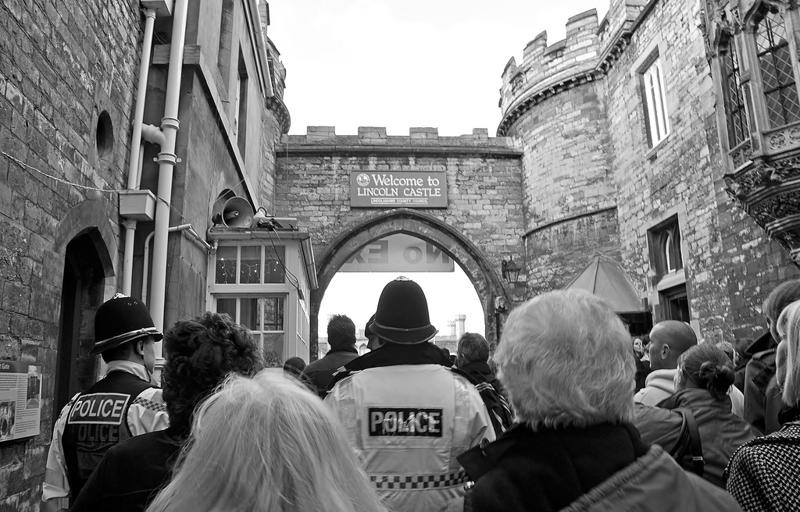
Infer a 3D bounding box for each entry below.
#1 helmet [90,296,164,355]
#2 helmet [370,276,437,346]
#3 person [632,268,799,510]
[{"bbox_3d":[-2.252,0.593,6.188,0.489,0.369,0.445,1,-13,-25],"label":"helmet"},{"bbox_3d":[0.037,0.469,6.010,0.461,0.463,0.656,4,-16,-5],"label":"helmet"},{"bbox_3d":[2.345,1.112,6.529,1.135,1.615,1.754,8,-7,-21],"label":"person"}]
